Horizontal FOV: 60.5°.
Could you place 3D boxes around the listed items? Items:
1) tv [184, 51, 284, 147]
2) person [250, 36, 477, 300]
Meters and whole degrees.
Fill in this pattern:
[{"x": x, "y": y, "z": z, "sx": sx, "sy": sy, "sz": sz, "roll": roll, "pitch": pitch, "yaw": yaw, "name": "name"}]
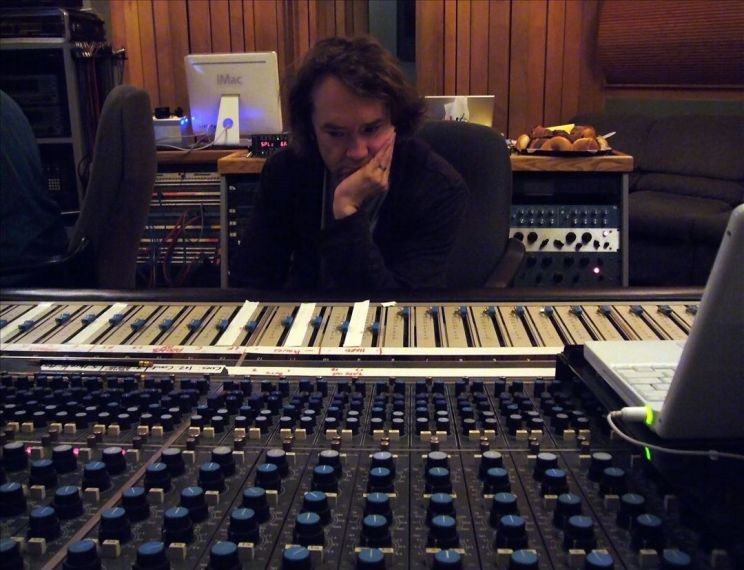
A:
[{"x": -0.792, "y": -1.061, "z": 3.691, "sx": 0.707, "sy": 0.629, "sz": 0.276, "roll": 1, "pitch": 28, "yaw": 1, "name": "tv"}, {"x": -0.048, "y": -0.374, "z": 2.171, "sx": 0.684, "sy": 0.865, "sz": 0.501, "roll": 13, "pitch": 22, "yaw": 29, "name": "person"}]
